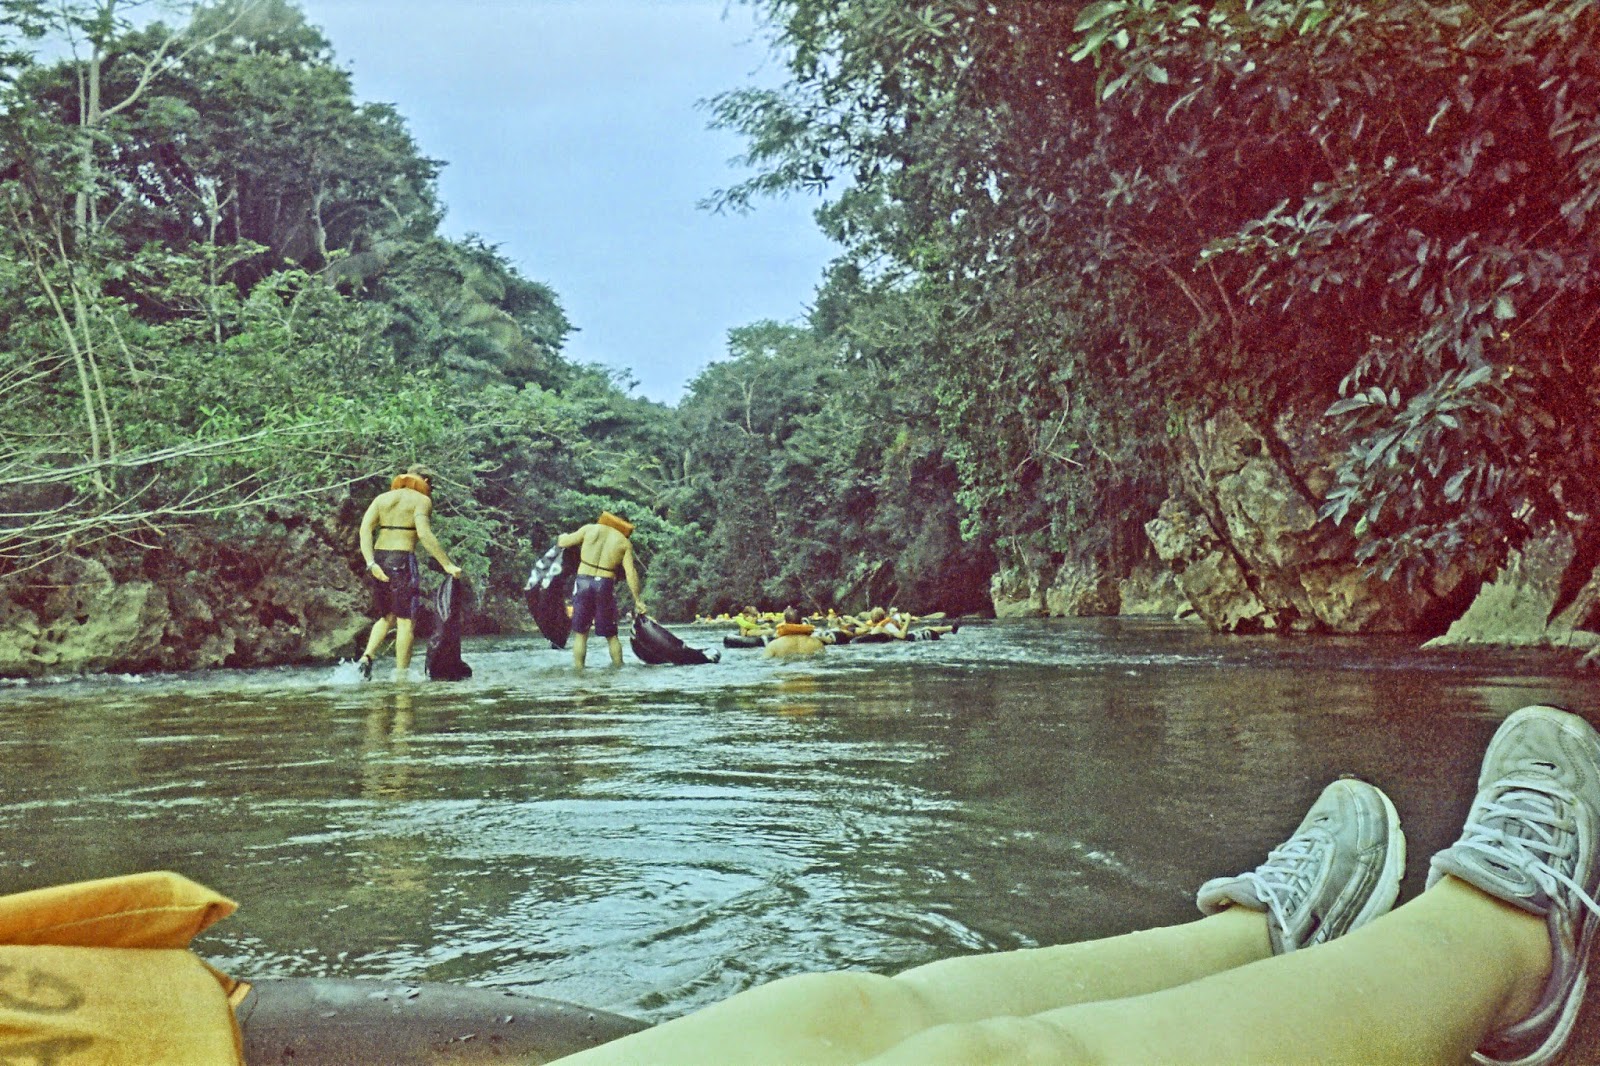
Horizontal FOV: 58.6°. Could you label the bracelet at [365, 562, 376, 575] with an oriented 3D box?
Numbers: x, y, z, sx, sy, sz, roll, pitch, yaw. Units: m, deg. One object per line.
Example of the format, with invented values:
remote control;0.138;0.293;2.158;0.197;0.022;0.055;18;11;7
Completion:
bracelet;-5.306;0.426;17.589;0.139;0.066;0.195;35;-24;7
